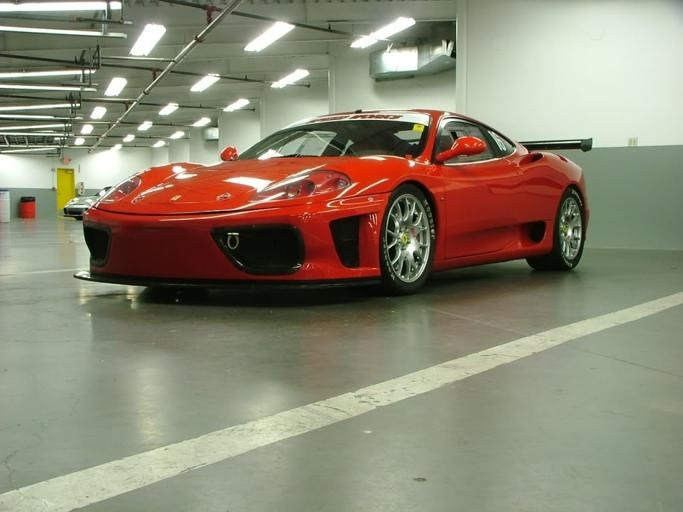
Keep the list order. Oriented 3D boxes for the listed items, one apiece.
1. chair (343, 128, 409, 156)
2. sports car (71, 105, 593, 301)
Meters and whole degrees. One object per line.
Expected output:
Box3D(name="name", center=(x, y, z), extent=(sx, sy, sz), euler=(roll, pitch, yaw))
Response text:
Box3D(name="chair", center=(0.306, -0.944, 4.110), extent=(0.469, 0.122, 0.270), euler=(-5, 16, -22))
Box3D(name="sports car", center=(0.125, -0.500, 4.018), extent=(4.025, 1.543, 1.435), euler=(-7, 8, -33))
